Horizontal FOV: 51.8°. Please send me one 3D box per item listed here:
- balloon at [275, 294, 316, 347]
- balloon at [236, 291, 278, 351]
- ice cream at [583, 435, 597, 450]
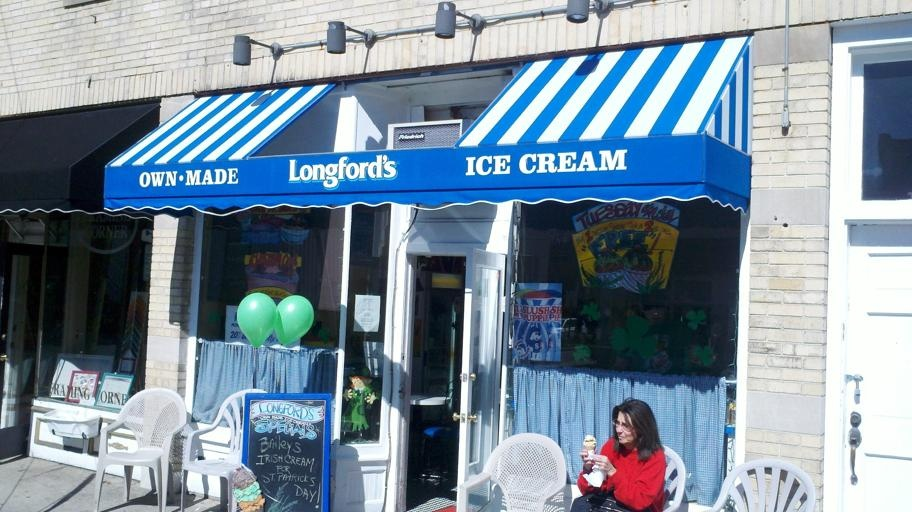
[{"bbox_3d":[-2.290,0.894,13.406,0.513,0.672,0.255,5,-5,-13],"label":"balloon"},{"bbox_3d":[-2.795,0.904,13.443,0.652,0.868,0.679,-1,7,-12],"label":"balloon"},{"bbox_3d":[1.729,2.384,12.084,0.142,0.178,0.270,4,-5,4],"label":"ice cream"}]
